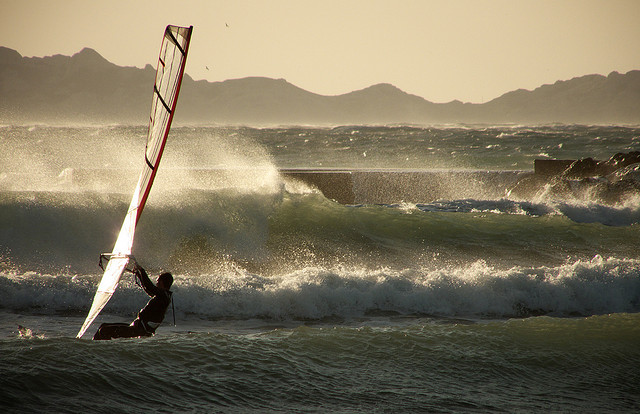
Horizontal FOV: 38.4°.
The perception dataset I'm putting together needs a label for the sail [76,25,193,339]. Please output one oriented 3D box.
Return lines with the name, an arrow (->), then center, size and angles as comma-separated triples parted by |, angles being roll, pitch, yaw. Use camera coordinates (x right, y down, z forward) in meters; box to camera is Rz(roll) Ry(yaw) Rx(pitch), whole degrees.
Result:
sail -> -3.527, -0.744, 18.494 | 2.043, 5.733, 0.772 | 5, 3, 38
